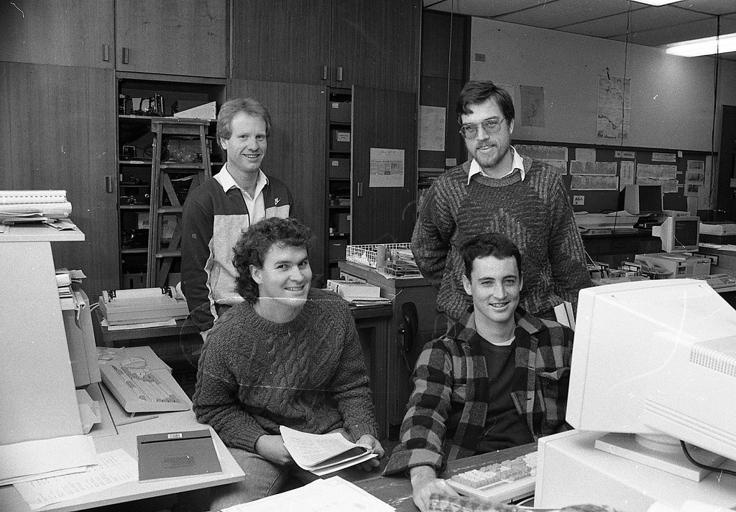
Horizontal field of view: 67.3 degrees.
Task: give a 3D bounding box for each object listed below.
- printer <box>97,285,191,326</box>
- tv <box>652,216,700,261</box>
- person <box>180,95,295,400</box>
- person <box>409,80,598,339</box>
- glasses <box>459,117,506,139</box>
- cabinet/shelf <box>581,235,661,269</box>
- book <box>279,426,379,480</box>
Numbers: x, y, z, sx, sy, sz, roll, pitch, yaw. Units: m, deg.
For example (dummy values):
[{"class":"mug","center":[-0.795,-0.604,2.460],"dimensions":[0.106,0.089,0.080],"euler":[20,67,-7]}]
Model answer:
[{"class":"printer","center":[-1.195,0.263,2.934],"dimensions":[0.432,0.143,0.336],"euler":[-5,9,-22]},{"class":"tv","center":[2.108,-0.147,3.775],"dimensions":[0.226,0.244,0.275],"euler":[-2,6,-4]},{"class":"person","center":[-0.610,0.037,2.773],"dimensions":[0.595,1.590,0.479],"euler":[-7,19,-32]},{"class":"person","center":[0.532,0.053,2.155],"dimensions":[0.726,1.379,0.380],"euler":[-2,10,24]},{"class":"glasses","center":[0.405,-0.463,2.024],"dimensions":[0.176,0.068,0.077],"euler":[5,11,36]},{"class":"cabinet/shelf","center":[1.640,-0.020,3.583],"dimensions":[0.215,0.201,0.132],"euler":[-2,6,-19]},{"class":"book","center":[-0.110,0.574,1.627],"dimensions":[0.183,0.055,0.191],"euler":[-2,9,-34]}]
